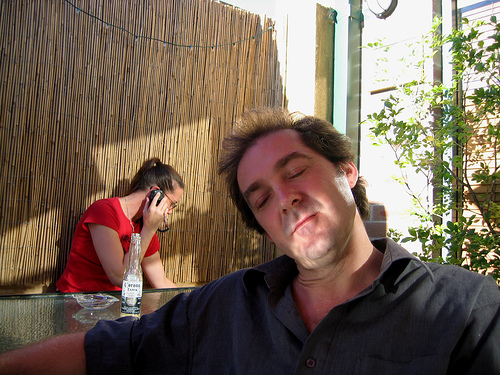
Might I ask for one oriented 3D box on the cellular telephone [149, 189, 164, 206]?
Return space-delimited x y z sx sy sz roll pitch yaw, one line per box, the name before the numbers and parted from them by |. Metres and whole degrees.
cellular telephone | -0.632 0.068 2.896 0.073 0.109 0.028 14 -4 22
